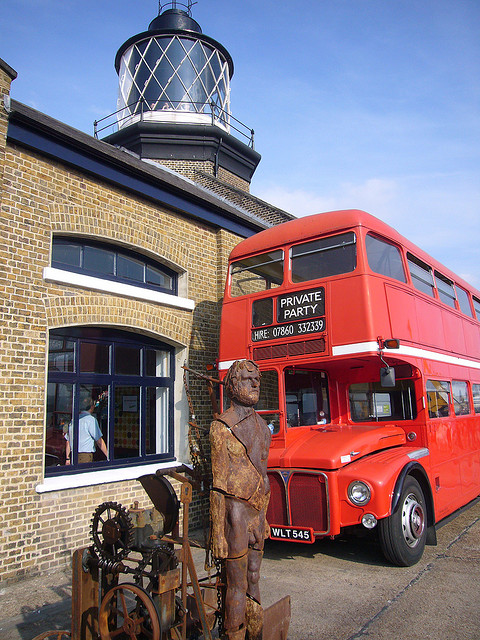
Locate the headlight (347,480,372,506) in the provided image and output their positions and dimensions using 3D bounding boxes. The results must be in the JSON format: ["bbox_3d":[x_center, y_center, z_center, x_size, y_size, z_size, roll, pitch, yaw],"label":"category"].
[{"bbox_3d":[1.261,1.843,5.318,0.193,0.236,0.112,12,1,36],"label":"headlight"}]

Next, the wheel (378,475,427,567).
[{"bbox_3d":[1.775,2.269,5.606,0.217,0.872,0.725,-12,-40,32],"label":"wheel"}]

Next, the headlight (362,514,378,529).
[{"bbox_3d":[1.340,2.107,5.251,0.140,0.157,0.128,-5,-12,16],"label":"headlight"}]

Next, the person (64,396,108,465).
[{"bbox_3d":[-2.157,1.766,7.011,0.482,1.485,0.309,5,7,-6],"label":"person"}]
